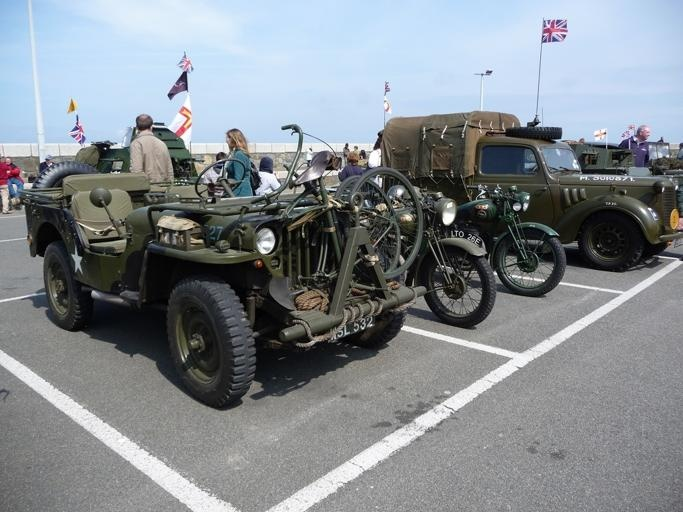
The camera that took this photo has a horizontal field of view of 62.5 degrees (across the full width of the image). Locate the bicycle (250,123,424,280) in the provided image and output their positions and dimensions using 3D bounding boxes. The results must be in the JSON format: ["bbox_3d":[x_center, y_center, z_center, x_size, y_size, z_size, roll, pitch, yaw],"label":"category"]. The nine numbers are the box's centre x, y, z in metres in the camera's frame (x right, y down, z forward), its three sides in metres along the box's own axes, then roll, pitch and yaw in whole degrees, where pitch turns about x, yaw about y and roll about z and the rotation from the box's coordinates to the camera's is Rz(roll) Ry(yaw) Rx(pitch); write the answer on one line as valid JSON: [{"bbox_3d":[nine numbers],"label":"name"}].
[{"bbox_3d":[0.147,-0.352,5.753,0.729,1.317,2.378,3,0,42],"label":"bicycle"}]

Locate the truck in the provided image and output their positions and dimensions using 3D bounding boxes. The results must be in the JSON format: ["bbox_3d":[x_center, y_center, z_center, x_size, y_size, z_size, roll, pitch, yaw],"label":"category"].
[{"bbox_3d":[3.352,-1.216,10.811,5.338,3.280,2.798,7,16,29],"label":"truck"}]

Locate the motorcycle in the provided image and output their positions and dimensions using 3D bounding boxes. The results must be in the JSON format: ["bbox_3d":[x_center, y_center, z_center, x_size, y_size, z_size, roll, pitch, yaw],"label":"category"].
[{"bbox_3d":[1.404,-0.081,7.444,2.526,1.619,1.478,6,9,42],"label":"motorcycle"}]

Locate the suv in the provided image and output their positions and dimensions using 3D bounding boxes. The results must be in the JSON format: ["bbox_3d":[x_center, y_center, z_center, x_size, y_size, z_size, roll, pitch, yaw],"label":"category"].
[{"bbox_3d":[-1.356,0.039,5.919,3.602,1.820,2.149,8,11,39],"label":"suv"}]

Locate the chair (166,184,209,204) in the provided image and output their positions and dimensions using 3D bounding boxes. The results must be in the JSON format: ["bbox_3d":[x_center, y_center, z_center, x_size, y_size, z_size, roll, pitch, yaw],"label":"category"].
[{"bbox_3d":[-1.864,-0.739,6.757,0.438,0.316,0.631,0,1,-13],"label":"chair"}]
